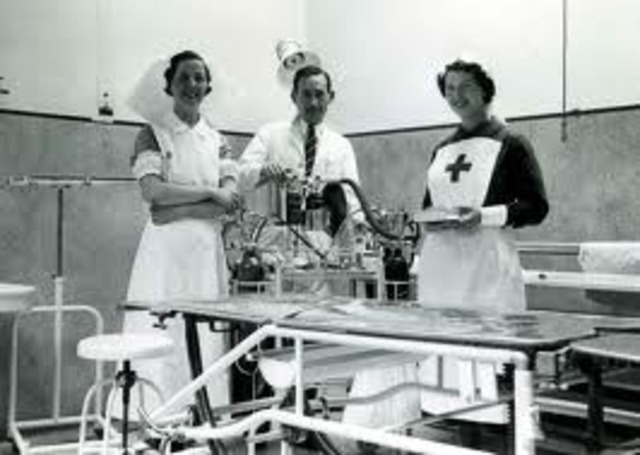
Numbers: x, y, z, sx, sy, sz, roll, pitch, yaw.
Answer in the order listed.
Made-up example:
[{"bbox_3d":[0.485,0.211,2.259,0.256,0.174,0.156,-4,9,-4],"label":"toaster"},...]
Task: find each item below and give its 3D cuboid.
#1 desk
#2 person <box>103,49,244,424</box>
[{"bbox_3d":[0.226,0.669,3.406,1.889,0.646,0.689,4,7,22],"label":"desk"},{"bbox_3d":[-0.761,0.011,4.559,0.731,1.922,0.664,1,12,-15],"label":"person"}]
